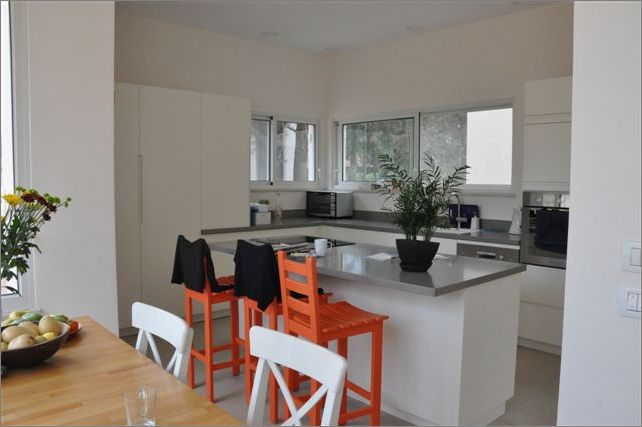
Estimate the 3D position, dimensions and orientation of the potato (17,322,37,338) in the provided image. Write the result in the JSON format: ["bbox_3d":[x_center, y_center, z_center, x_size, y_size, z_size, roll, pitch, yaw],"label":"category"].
[{"bbox_3d":[-1.392,0.552,2.091,0.060,0.062,0.078,35,11,-41],"label":"potato"}]

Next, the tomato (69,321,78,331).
[{"bbox_3d":[-1.331,0.608,2.370,0.040,0.028,0.039,2,-1,-21],"label":"tomato"}]

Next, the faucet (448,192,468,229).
[{"bbox_3d":[1.633,-0.017,5.179,0.206,0.353,0.205,0,-14,19],"label":"faucet"}]

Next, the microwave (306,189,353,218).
[{"bbox_3d":[0.177,-0.115,6.320,0.702,0.384,0.518,4,2,45],"label":"microwave"}]

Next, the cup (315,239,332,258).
[{"bbox_3d":[0.012,0.283,3.601,0.140,0.121,0.104,0,-1,-23],"label":"cup"}]

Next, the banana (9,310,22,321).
[{"bbox_3d":[-1.554,0.521,2.236,0.048,0.015,0.046,4,8,1],"label":"banana"}]

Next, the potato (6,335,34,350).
[{"bbox_3d":[-1.379,0.597,2.017,0.090,0.047,0.065,-6,-38,2],"label":"potato"}]

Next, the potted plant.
[{"bbox_3d":[0.720,0.014,3.277,0.708,0.777,0.632,-4,-10,32],"label":"potted plant"}]

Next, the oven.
[{"bbox_3d":[2.367,0.162,4.478,0.508,0.731,0.549,6,1,13],"label":"oven"}]

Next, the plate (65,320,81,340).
[{"bbox_3d":[-1.330,0.613,2.361,0.094,0.052,0.091,-5,20,-31],"label":"plate"}]
